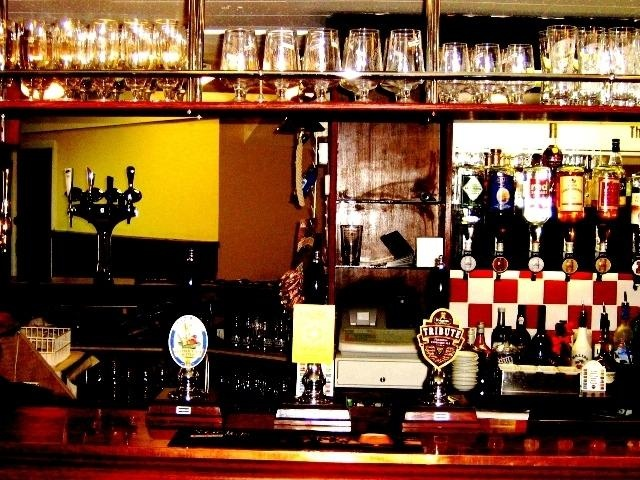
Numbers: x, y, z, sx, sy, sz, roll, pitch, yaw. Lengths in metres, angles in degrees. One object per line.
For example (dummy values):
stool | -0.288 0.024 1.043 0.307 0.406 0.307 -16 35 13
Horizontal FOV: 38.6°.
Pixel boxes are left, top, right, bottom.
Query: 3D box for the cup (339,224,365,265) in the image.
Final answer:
cup | 0.175 0.028 5.018 0.126 0.223 0.249 1 1 2

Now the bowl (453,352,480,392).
bowl | 0.722 0.631 4.404 0.188 0.195 0.080 0 1 -44
